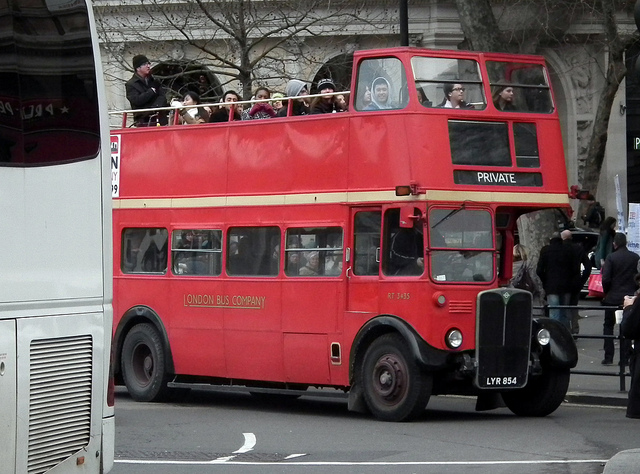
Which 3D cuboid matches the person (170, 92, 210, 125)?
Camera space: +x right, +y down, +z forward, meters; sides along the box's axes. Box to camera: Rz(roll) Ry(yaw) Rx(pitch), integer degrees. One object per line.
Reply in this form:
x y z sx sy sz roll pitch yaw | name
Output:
-2.285 -2.245 16.815 0.506 0.324 0.723 3 20 -22 | person

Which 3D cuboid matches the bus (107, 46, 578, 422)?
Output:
-0.583 0.206 16.874 2.981 5.467 9.173 1 -1 -43 | bus
